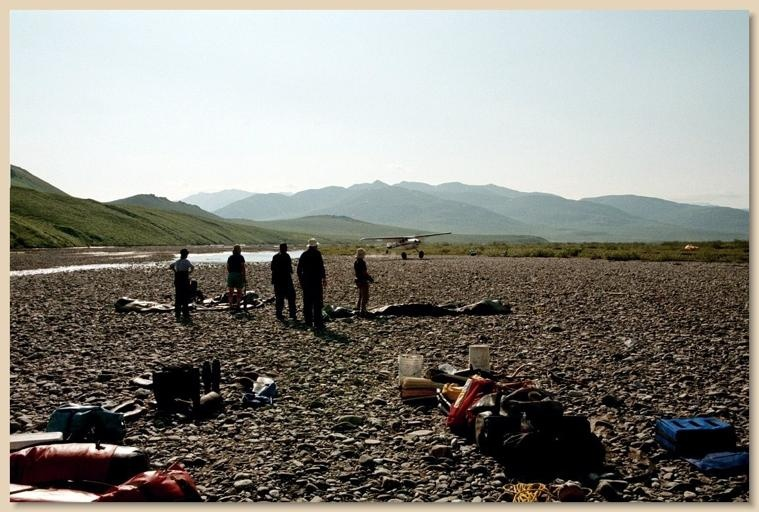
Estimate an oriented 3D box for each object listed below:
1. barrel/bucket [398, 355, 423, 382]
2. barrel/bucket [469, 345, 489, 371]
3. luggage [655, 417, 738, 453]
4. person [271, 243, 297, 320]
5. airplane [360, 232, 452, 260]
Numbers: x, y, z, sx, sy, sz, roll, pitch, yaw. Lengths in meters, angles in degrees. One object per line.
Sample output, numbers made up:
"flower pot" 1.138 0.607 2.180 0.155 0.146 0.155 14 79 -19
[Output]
"barrel/bucket" 0.794 2.842 14.588 0.821 0.613 0.654 0 -5 -5
"barrel/bucket" 2.599 2.631 14.953 0.525 0.623 0.432 0 0 6
"luggage" 6.093 3.462 11.117 1.296 0.535 0.541 0 0 -1
"person" -3.534 0.977 22.809 1.325 2.716 1.116 3 3 33
"airplane" 5.626 -2.735 121.831 22.431 4.643 14.593 -2 -3 -34
